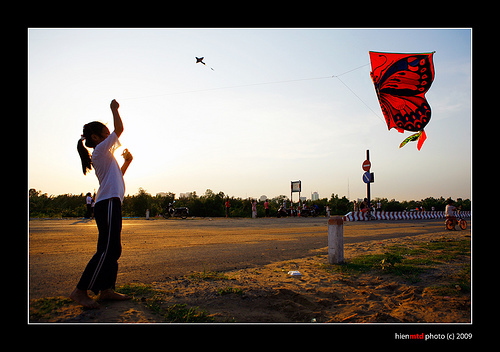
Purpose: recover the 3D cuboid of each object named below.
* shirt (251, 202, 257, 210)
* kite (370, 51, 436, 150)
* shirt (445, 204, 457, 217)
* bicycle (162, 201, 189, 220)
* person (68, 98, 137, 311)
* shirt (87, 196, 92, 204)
[{"bbox_3d":[0.272,2.794,34.173,0.605,0.809,0.453,0,-8,-5],"label":"shirt"},{"bbox_3d":[3.916,-2.086,9.790,1.334,3.164,2.378,-6,-4,34],"label":"kite"},{"bbox_3d":[10.889,1.906,20.126,0.402,0.631,0.897,1,-2,27],"label":"shirt"},{"bbox_3d":[-6.036,2.926,30.468,2.015,1.230,1.134,4,-2,22],"label":"bicycle"},{"bbox_3d":[-2.405,0.442,6.097,0.912,2.245,1.197,2,-2,-24],"label":"person"},{"bbox_3d":[-10.718,1.596,24.621,0.200,0.354,0.491,1,-1,11],"label":"shirt"}]
